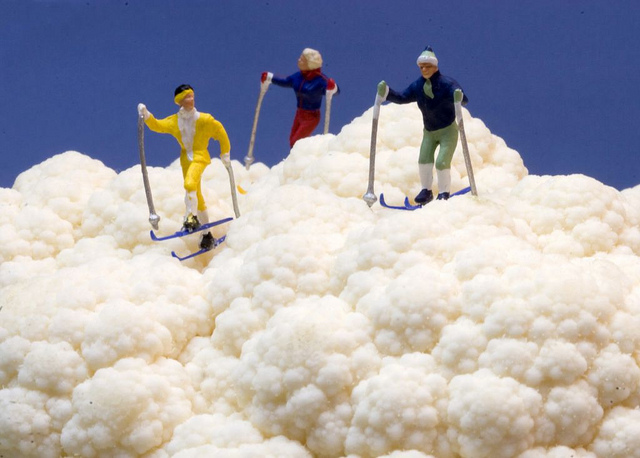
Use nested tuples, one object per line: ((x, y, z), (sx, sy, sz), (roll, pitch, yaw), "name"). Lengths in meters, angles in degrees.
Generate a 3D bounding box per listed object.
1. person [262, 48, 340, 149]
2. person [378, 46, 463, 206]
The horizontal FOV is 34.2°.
((-0.271, -2.015, 15.736), (1.029, 1.493, 0.361), (1, 17, 2), "person")
((1.331, -1.339, 13.265), (0.883, 2.023, 0.398), (6, 18, 17), "person")
